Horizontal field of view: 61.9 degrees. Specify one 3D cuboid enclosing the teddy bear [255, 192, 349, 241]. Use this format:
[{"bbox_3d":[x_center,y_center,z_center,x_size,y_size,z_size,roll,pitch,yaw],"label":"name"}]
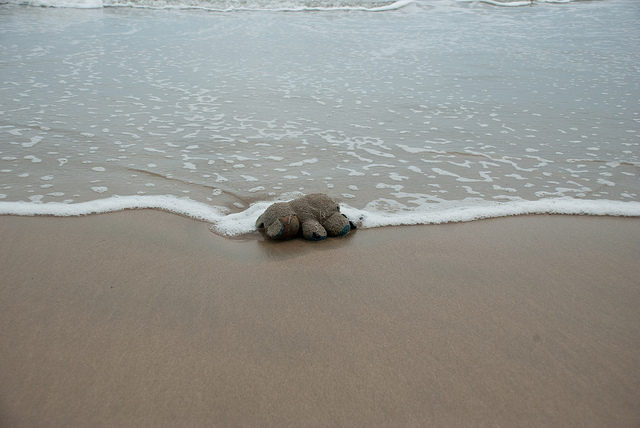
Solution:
[{"bbox_3d":[-0.271,-0.021,7.394,1.206,0.331,1.075,-25,42,-38],"label":"teddy bear"}]
